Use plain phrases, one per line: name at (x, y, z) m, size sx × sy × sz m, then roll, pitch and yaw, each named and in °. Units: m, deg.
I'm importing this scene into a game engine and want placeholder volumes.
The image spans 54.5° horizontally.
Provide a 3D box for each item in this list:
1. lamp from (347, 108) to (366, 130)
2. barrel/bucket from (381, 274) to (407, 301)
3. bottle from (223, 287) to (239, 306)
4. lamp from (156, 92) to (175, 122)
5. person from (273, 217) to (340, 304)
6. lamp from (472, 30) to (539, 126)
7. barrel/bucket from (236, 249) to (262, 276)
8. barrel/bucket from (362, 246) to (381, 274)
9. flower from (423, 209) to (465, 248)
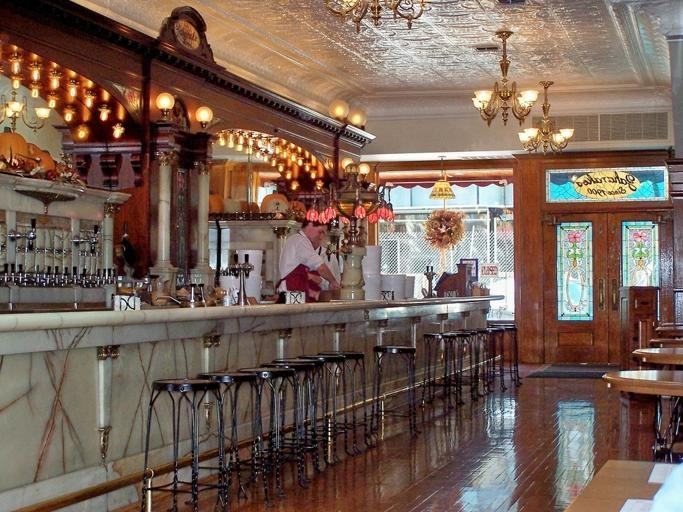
lamp at (0.191, -2.058, 10.010) m, size 0.280 × 0.373 × 0.297 m, roll 2°, pitch 6°, yaw 11°
barrel/bucket at (0.663, 0.383, 8.268) m, size 0.214 × 0.306 × 0.606 m, roll -2°, pitch -1°, yaw 18°
bottle at (-0.996, 0.367, 5.957) m, size 0.154 × 0.173 × 0.299 m, roll 0°, pitch -5°, yaw -1°
lamp at (-1.927, -1.625, 7.279) m, size 0.209 × 0.353 × 0.384 m, roll -1°, pitch -1°, yaw -15°
person at (-0.365, 0.063, 7.073) m, size 0.593 × 0.852 × 0.771 m, roll -1°, pitch -1°, yaw -10°
lamp at (2.469, -2.731, 9.970) m, size 1.004 × 1.408 × 1.028 m, roll 0°, pitch 10°, yaw 4°
barrel/bucket at (-0.925, 0.065, 6.694) m, size 0.285 × 0.341 × 0.278 m, roll 2°, pitch 2°, yaw 0°
barrel/bucket at (0.364, 0.052, 7.744) m, size 0.239 × 0.314 × 0.089 m, roll -1°, pitch -1°, yaw -34°
flower at (2.168, -0.559, 13.857) m, size 0.705 × 0.779 × 0.492 m, roll 0°, pitch 0°, yaw 9°
